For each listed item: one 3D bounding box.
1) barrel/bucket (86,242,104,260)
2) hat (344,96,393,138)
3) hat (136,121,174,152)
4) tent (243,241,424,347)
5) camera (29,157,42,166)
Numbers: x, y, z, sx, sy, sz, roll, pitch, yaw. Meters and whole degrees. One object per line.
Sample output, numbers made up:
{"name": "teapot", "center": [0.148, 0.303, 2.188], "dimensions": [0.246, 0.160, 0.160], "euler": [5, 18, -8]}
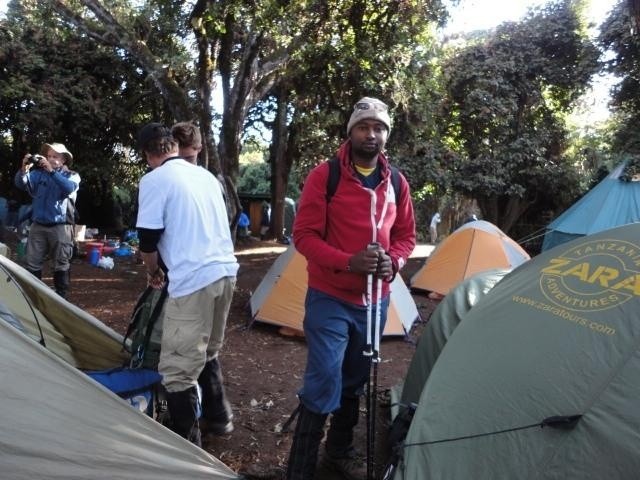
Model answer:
{"name": "barrel/bucket", "center": [-5.323, 0.268, 12.600], "dimensions": [0.318, 0.333, 0.332], "euler": [8, 8, -1]}
{"name": "hat", "center": [0.338, -0.804, 3.516], "dimensions": [0.263, 0.263, 0.266], "euler": [4, -2, -14]}
{"name": "hat", "center": [-1.143, -0.723, 3.700], "dimensions": [0.169, 0.138, 0.239], "euler": [-12, 37, -21]}
{"name": "tent", "center": [-0.074, 0.795, 7.140], "dimensions": [1.495, 1.085, 1.510], "euler": [8, 5, -32]}
{"name": "camera", "center": [-3.570, -0.997, 6.682], "dimensions": [0.084, 0.123, 0.055], "euler": [7, 40, 4]}
